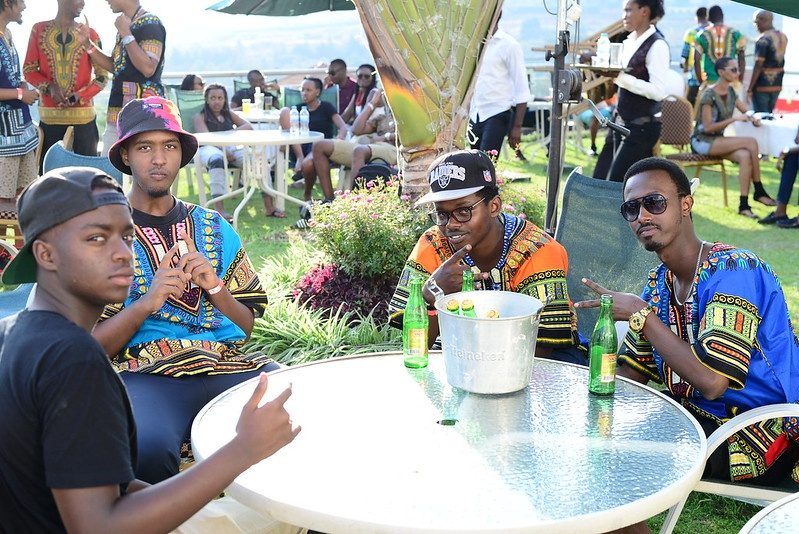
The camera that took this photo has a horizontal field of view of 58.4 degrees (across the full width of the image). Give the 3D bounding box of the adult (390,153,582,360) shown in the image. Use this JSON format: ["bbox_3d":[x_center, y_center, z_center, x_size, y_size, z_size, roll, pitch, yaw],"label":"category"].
[{"bbox_3d":[0.512,-0.092,3.876,1.136,1.119,1.040,4,5,42],"label":"adult"}]

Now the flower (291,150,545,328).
[{"bbox_3d":[-0.277,-0.186,5.716,1.480,1.395,0.887,0,14,-32],"label":"flower"}]

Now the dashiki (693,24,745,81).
[{"bbox_3d":[5.189,-3.430,11.599,0.807,0.931,0.504,0,-4,14],"label":"dashiki"}]

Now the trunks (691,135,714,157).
[{"bbox_3d":[3.895,-1.568,9.224,0.235,0.234,0.099,18,22,39],"label":"trunks"}]

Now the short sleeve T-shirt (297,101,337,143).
[{"bbox_3d":[-1.214,-2.152,10.540,0.632,0.580,0.341,-7,18,-6],"label":"short sleeve T-shirt"}]

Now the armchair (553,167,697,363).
[{"bbox_3d":[1.411,-0.042,4.754,0.680,1.243,0.394,11,-7,29],"label":"armchair"}]

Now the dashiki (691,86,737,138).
[{"bbox_3d":[4.114,-2.013,9.270,0.566,0.639,0.505,-1,13,5],"label":"dashiki"}]

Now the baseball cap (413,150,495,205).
[{"bbox_3d":[0.275,-0.437,3.489,0.245,0.162,0.360,-2,12,44],"label":"baseball cap"}]

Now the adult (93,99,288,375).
[{"bbox_3d":[-1.085,-0.096,3.460,0.974,1.384,0.772,-6,10,-31],"label":"adult"}]

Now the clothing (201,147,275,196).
[{"bbox_3d":[-2.051,-1.226,9.089,0.840,0.573,0.822,-1,8,-5],"label":"clothing"}]

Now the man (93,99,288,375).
[{"bbox_3d":[-1.090,-0.097,3.464,0.929,1.390,0.788,-6,10,-32],"label":"man"}]

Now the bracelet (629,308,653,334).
[{"bbox_3d":[1.042,0.228,3.072,0.070,0.114,0.120,42,11,20],"label":"bracelet"}]

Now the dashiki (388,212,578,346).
[{"bbox_3d":[0.468,-0.092,3.634,0.944,0.687,0.704,3,10,24],"label":"dashiki"}]

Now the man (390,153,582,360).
[{"bbox_3d":[0.428,-0.053,3.938,1.136,1.119,1.040,4,5,42],"label":"man"}]

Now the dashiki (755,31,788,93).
[{"bbox_3d":[5.836,-3.257,11.292,0.426,0.945,0.669,5,15,25],"label":"dashiki"}]

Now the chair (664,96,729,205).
[{"bbox_3d":[3.929,-1.552,9.482,0.821,1.408,0.871,-11,18,-37],"label":"chair"}]

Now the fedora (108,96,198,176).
[{"bbox_3d":[-1.276,-0.732,3.713,0.392,0.238,0.441,-6,-24,-15],"label":"fedora"}]

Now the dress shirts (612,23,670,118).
[{"bbox_3d":[2.346,-1.857,6.910,0.422,0.851,0.419,3,14,18],"label":"dress shirts"}]

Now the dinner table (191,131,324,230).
[{"bbox_3d":[-1.725,-1.159,8.708,1.153,0.737,1.157,3,6,18],"label":"dinner table"}]
